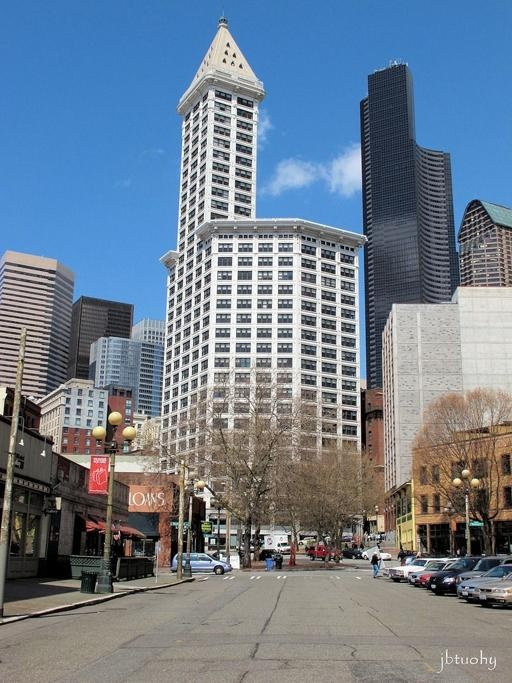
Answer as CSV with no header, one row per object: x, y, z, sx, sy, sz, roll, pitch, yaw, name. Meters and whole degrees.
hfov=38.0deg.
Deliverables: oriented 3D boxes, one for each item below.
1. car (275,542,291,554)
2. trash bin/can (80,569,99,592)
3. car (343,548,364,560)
3.567,27.254,97.457,1.070,1.656,6.586,-2,-15,10,car
-5.034,7.191,22.279,0.584,0.632,0.597,9,-18,-17,trash bin/can
12.299,27.344,95.502,1.912,0.997,1.270,-8,-10,17,car
